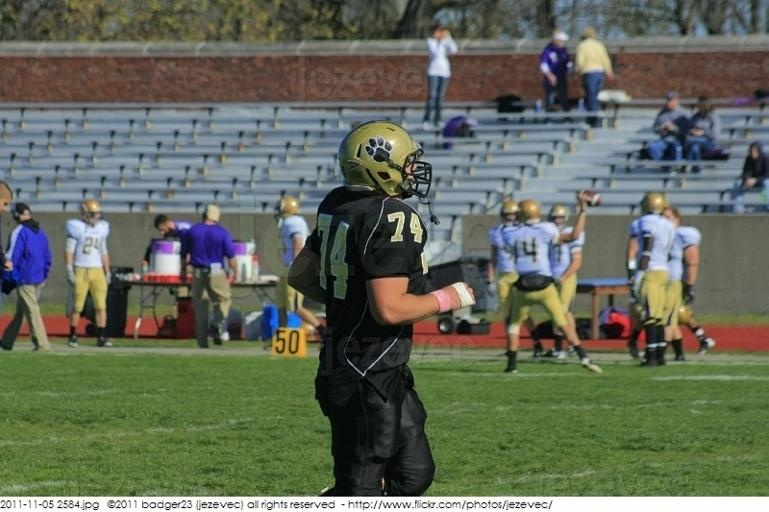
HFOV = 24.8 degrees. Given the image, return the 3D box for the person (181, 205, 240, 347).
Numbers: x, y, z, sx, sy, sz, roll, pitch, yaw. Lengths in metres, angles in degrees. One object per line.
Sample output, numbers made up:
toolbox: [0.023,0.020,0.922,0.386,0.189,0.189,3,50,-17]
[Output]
person: [-4.080,0.468,41.094,1.236,3.308,0.994,-1,-1,-5]

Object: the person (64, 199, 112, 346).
person: [-6.882,0.408,40.721,1.012,3.392,0.486,-1,-1,-11]

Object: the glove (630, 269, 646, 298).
glove: [5.733,0.619,39.396,0.176,0.528,0.395,13,4,4]

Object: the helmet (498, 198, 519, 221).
helmet: [2.906,-1.078,40.401,0.467,0.476,0.500,-1,-1,8]

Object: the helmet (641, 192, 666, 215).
helmet: [6.115,-1.201,39.468,0.514,0.496,0.532,-1,-1,6]

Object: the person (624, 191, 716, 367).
person: [6.227,0.523,39.511,1.461,3.863,0.677,-1,-1,-27]

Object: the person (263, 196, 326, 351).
person: [-2.099,0.023,39.699,1.237,2.592,0.792,14,20,43]

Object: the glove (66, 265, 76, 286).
glove: [-7.274,0.435,40.520,0.149,0.365,0.284,-3,2,-19]

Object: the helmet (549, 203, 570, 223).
helmet: [4.024,-0.981,40.292,0.392,0.406,0.523,4,16,23]

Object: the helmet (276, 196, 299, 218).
helmet: [-2.171,-1.111,39.754,0.392,0.444,0.465,0,6,-3]

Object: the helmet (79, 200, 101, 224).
helmet: [-6.775,-1.095,40.941,0.497,0.546,0.562,4,26,-26]

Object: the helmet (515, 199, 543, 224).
helmet: [3.260,-0.998,39.417,0.584,0.515,0.446,3,1,25]

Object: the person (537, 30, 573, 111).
person: [4.848,-5.041,48.801,0.829,2.546,1.455,20,43,33]

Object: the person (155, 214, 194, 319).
person: [-5.032,0.136,41.467,0.864,2.172,0.879,-1,-3,0]
